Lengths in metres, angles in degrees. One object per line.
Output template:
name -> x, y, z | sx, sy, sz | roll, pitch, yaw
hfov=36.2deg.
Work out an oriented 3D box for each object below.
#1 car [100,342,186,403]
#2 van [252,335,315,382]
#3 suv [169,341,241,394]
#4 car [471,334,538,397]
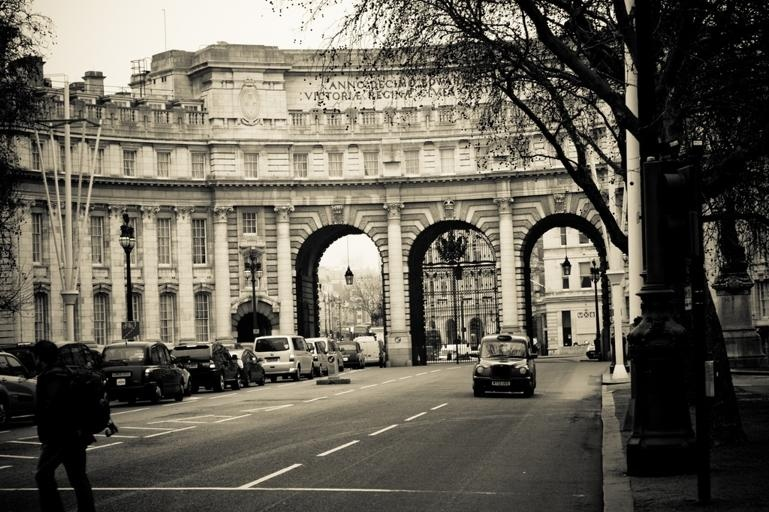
car -> -9.066, 4.327, 44.079 | 1.787, 2.359, 4.484 | -5, -8, 14
van -> -5.001, 5.214, 60.253 | 1.780, 2.124, 4.436 | -1, -3, 8
suv -> -7.522, 4.818, 51.176 | 1.730, 1.919, 4.316 | -1, -3, 9
car -> 4.445, 3.997, 43.187 | 1.616, 1.842, 3.753 | -1, -3, 13
